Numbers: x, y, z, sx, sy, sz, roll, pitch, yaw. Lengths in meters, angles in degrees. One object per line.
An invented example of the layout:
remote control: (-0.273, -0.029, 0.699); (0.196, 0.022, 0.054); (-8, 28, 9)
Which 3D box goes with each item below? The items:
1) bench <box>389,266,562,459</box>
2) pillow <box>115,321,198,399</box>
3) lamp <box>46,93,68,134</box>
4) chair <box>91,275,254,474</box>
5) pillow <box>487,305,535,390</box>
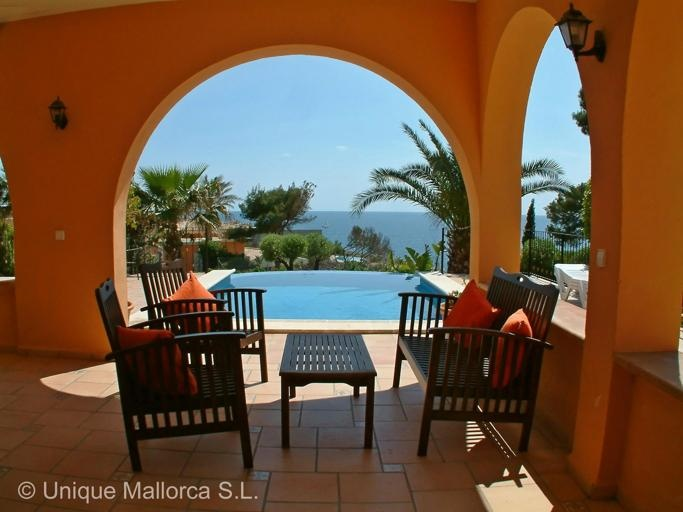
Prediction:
bench: (1.075, 0.759, 3.709); (1.092, 1.249, 1.061); (0, 12, -2)
pillow: (-1.222, 0.696, 3.139); (0.441, 0.516, 0.145); (-1, 25, 20)
lamp: (-2.873, -1.439, 4.720); (0.192, 0.341, 0.203); (-4, 13, -20)
chair: (-1.177, 0.885, 3.900); (1.088, 1.872, 1.304); (-4, 2, -10)
pillow: (1.212, 0.665, 3.327); (0.180, 0.329, 0.443); (2, 35, -9)
